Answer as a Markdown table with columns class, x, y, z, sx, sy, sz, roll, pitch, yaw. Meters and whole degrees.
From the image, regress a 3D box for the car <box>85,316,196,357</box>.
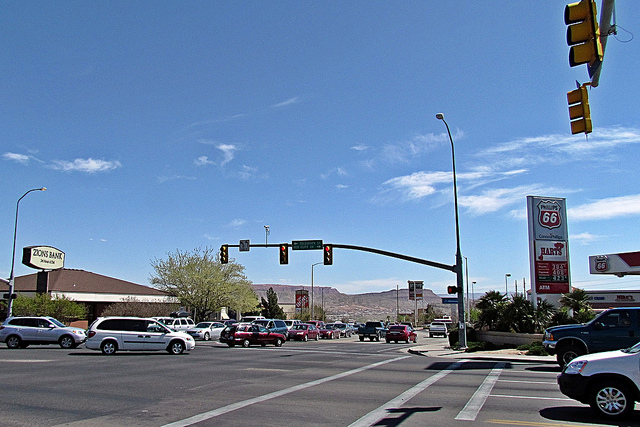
| class | x | y | z | sx | sy | sz | roll | pitch | yaw |
| --- | --- | --- | --- | --- | --- | --- | --- | --- | --- |
| car | -9.973 | 6.922 | 30.727 | 5.957 | 1.923 | 2.780 | 2 | -7 | -7 |

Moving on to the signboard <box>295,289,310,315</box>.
| class | x | y | z | sx | sy | sz | roll | pitch | yaw |
| --- | --- | --- | --- | --- | --- | --- | --- | --- | --- |
| signboard | -2.350 | 11.299 | 71.476 | 1.370 | 2.662 | 3.757 | 2 | -14 | -11 |

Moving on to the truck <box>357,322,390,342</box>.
| class | x | y | z | sx | sy | sz | roll | pitch | yaw |
| --- | --- | --- | --- | --- | --- | --- | --- | --- | --- |
| truck | 5.266 | 11.605 | 52.000 | 1.712 | 1.173 | 3.095 | -1 | -3 | 19 |

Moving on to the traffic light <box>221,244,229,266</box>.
| class | x | y | z | sx | sy | sz | roll | pitch | yaw |
| --- | --- | --- | --- | --- | --- | --- | --- | --- | --- |
| traffic light | -6.594 | 2.821 | 36.873 | 0.428 | 1.369 | 0.667 | 4 | -15 | -18 |

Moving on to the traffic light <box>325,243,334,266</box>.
| class | x | y | z | sx | sy | sz | roll | pitch | yaw |
| --- | --- | --- | --- | --- | --- | --- | --- | --- | --- |
| traffic light | 0.567 | 2.675 | 35.142 | 0.476 | 1.246 | 0.279 | -1 | -14 | 0 |

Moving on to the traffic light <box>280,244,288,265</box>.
| class | x | y | z | sx | sy | sz | roll | pitch | yaw |
| --- | --- | --- | --- | --- | --- | --- | --- | --- | --- |
| traffic light | -2.460 | 2.726 | 36.493 | 0.513 | 1.291 | 0.288 | 0 | -14 | -5 |
